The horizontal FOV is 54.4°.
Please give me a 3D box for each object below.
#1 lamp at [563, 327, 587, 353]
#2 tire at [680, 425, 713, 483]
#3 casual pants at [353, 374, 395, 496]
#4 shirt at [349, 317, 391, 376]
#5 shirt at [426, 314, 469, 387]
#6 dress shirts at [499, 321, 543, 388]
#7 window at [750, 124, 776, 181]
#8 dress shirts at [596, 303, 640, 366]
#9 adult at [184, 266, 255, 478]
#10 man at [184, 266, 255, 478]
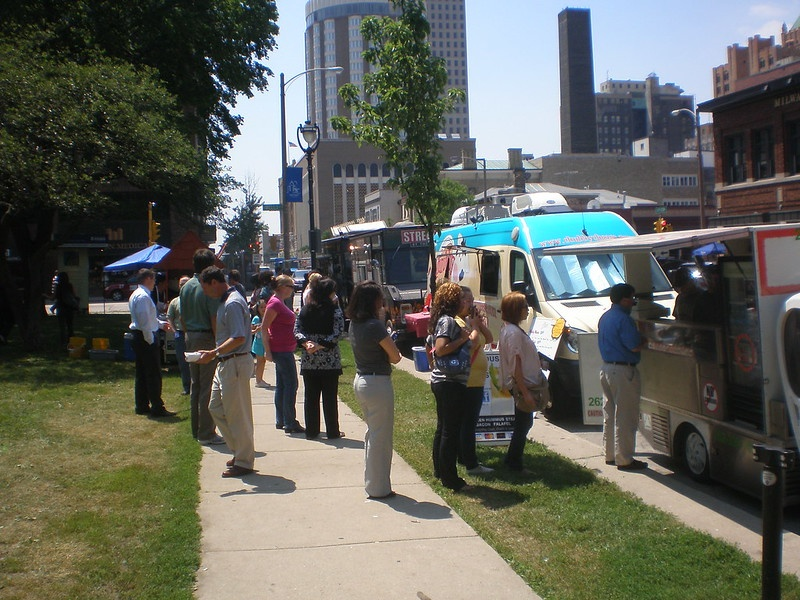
[{"bbox_3d":[2.589,0.567,11.665,0.128,0.390,0.252,-5,17,-24],"label":"lamp"},{"bbox_3d":[3.501,1.807,9.171,0.209,0.724,0.670,1,-2,-8],"label":"tire"},{"bbox_3d":[-0.299,1.501,8.688,0.415,1.380,0.302,0,8,-3],"label":"casual pants"},{"bbox_3d":[-0.350,0.528,8.784,0.380,0.675,0.659,-9,0,-31],"label":"shirt"},{"bbox_3d":[0.540,0.431,8.833,0.447,0.866,0.681,-5,19,7],"label":"shirt"},{"bbox_3d":[1.436,0.638,9.470,0.465,0.834,0.796,-8,3,-3],"label":"dress shirts"},{"bbox_3d":[19.365,-7.897,41.636,0.480,2.757,1.376,-2,9,-21],"label":"window"},{"bbox_3d":[2.720,0.387,9.750,0.411,0.734,0.752,-3,6,-24],"label":"dress shirts"},{"bbox_3d":[-2.095,0.872,9.398,0.677,2.471,0.674,7,10,36],"label":"adult"},{"bbox_3d":[-2.093,0.872,9.403,0.680,2.471,0.675,7,10,35],"label":"man"}]
